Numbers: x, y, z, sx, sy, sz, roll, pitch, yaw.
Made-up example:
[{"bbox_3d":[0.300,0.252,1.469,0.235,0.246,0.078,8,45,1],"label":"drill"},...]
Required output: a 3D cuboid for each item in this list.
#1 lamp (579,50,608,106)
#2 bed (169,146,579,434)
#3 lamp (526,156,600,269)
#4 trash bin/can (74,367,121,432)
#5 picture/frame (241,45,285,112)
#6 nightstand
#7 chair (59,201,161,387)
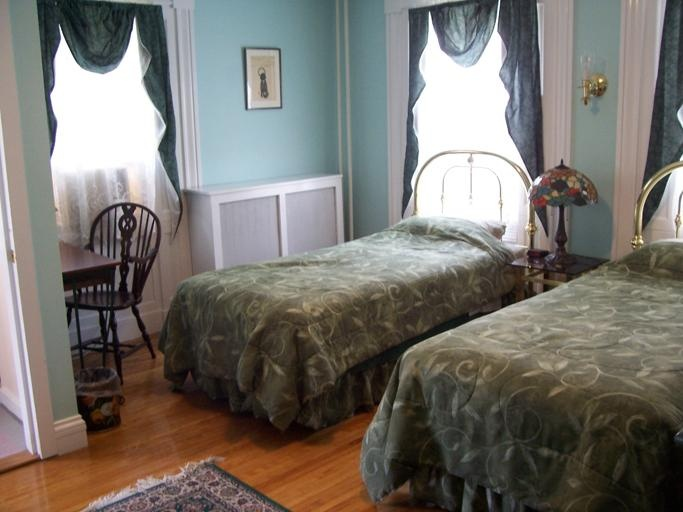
[{"bbox_3d":[1.850,-1.294,4.050,0.166,0.366,0.102,-3,11,8],"label":"lamp"},{"bbox_3d":[0.097,0.326,4.080,2.421,0.947,1.533,-10,13,-39],"label":"bed"},{"bbox_3d":[1.620,-0.317,4.022,0.421,0.714,0.427,-11,18,-33],"label":"lamp"},{"bbox_3d":[-1.434,0.863,3.364,0.299,0.340,0.285,-2,-4,-8],"label":"trash bin/can"},{"bbox_3d":[-0.736,-1.636,5.058,0.056,0.772,0.522,8,13,43],"label":"picture/frame"},{"bbox_3d":[1.614,0.087,4.092,0.449,0.485,0.461,12,21,41],"label":"nightstand"},{"bbox_3d":[-1.672,0.241,4.014,0.642,1.204,0.585,4,7,34],"label":"chair"}]
